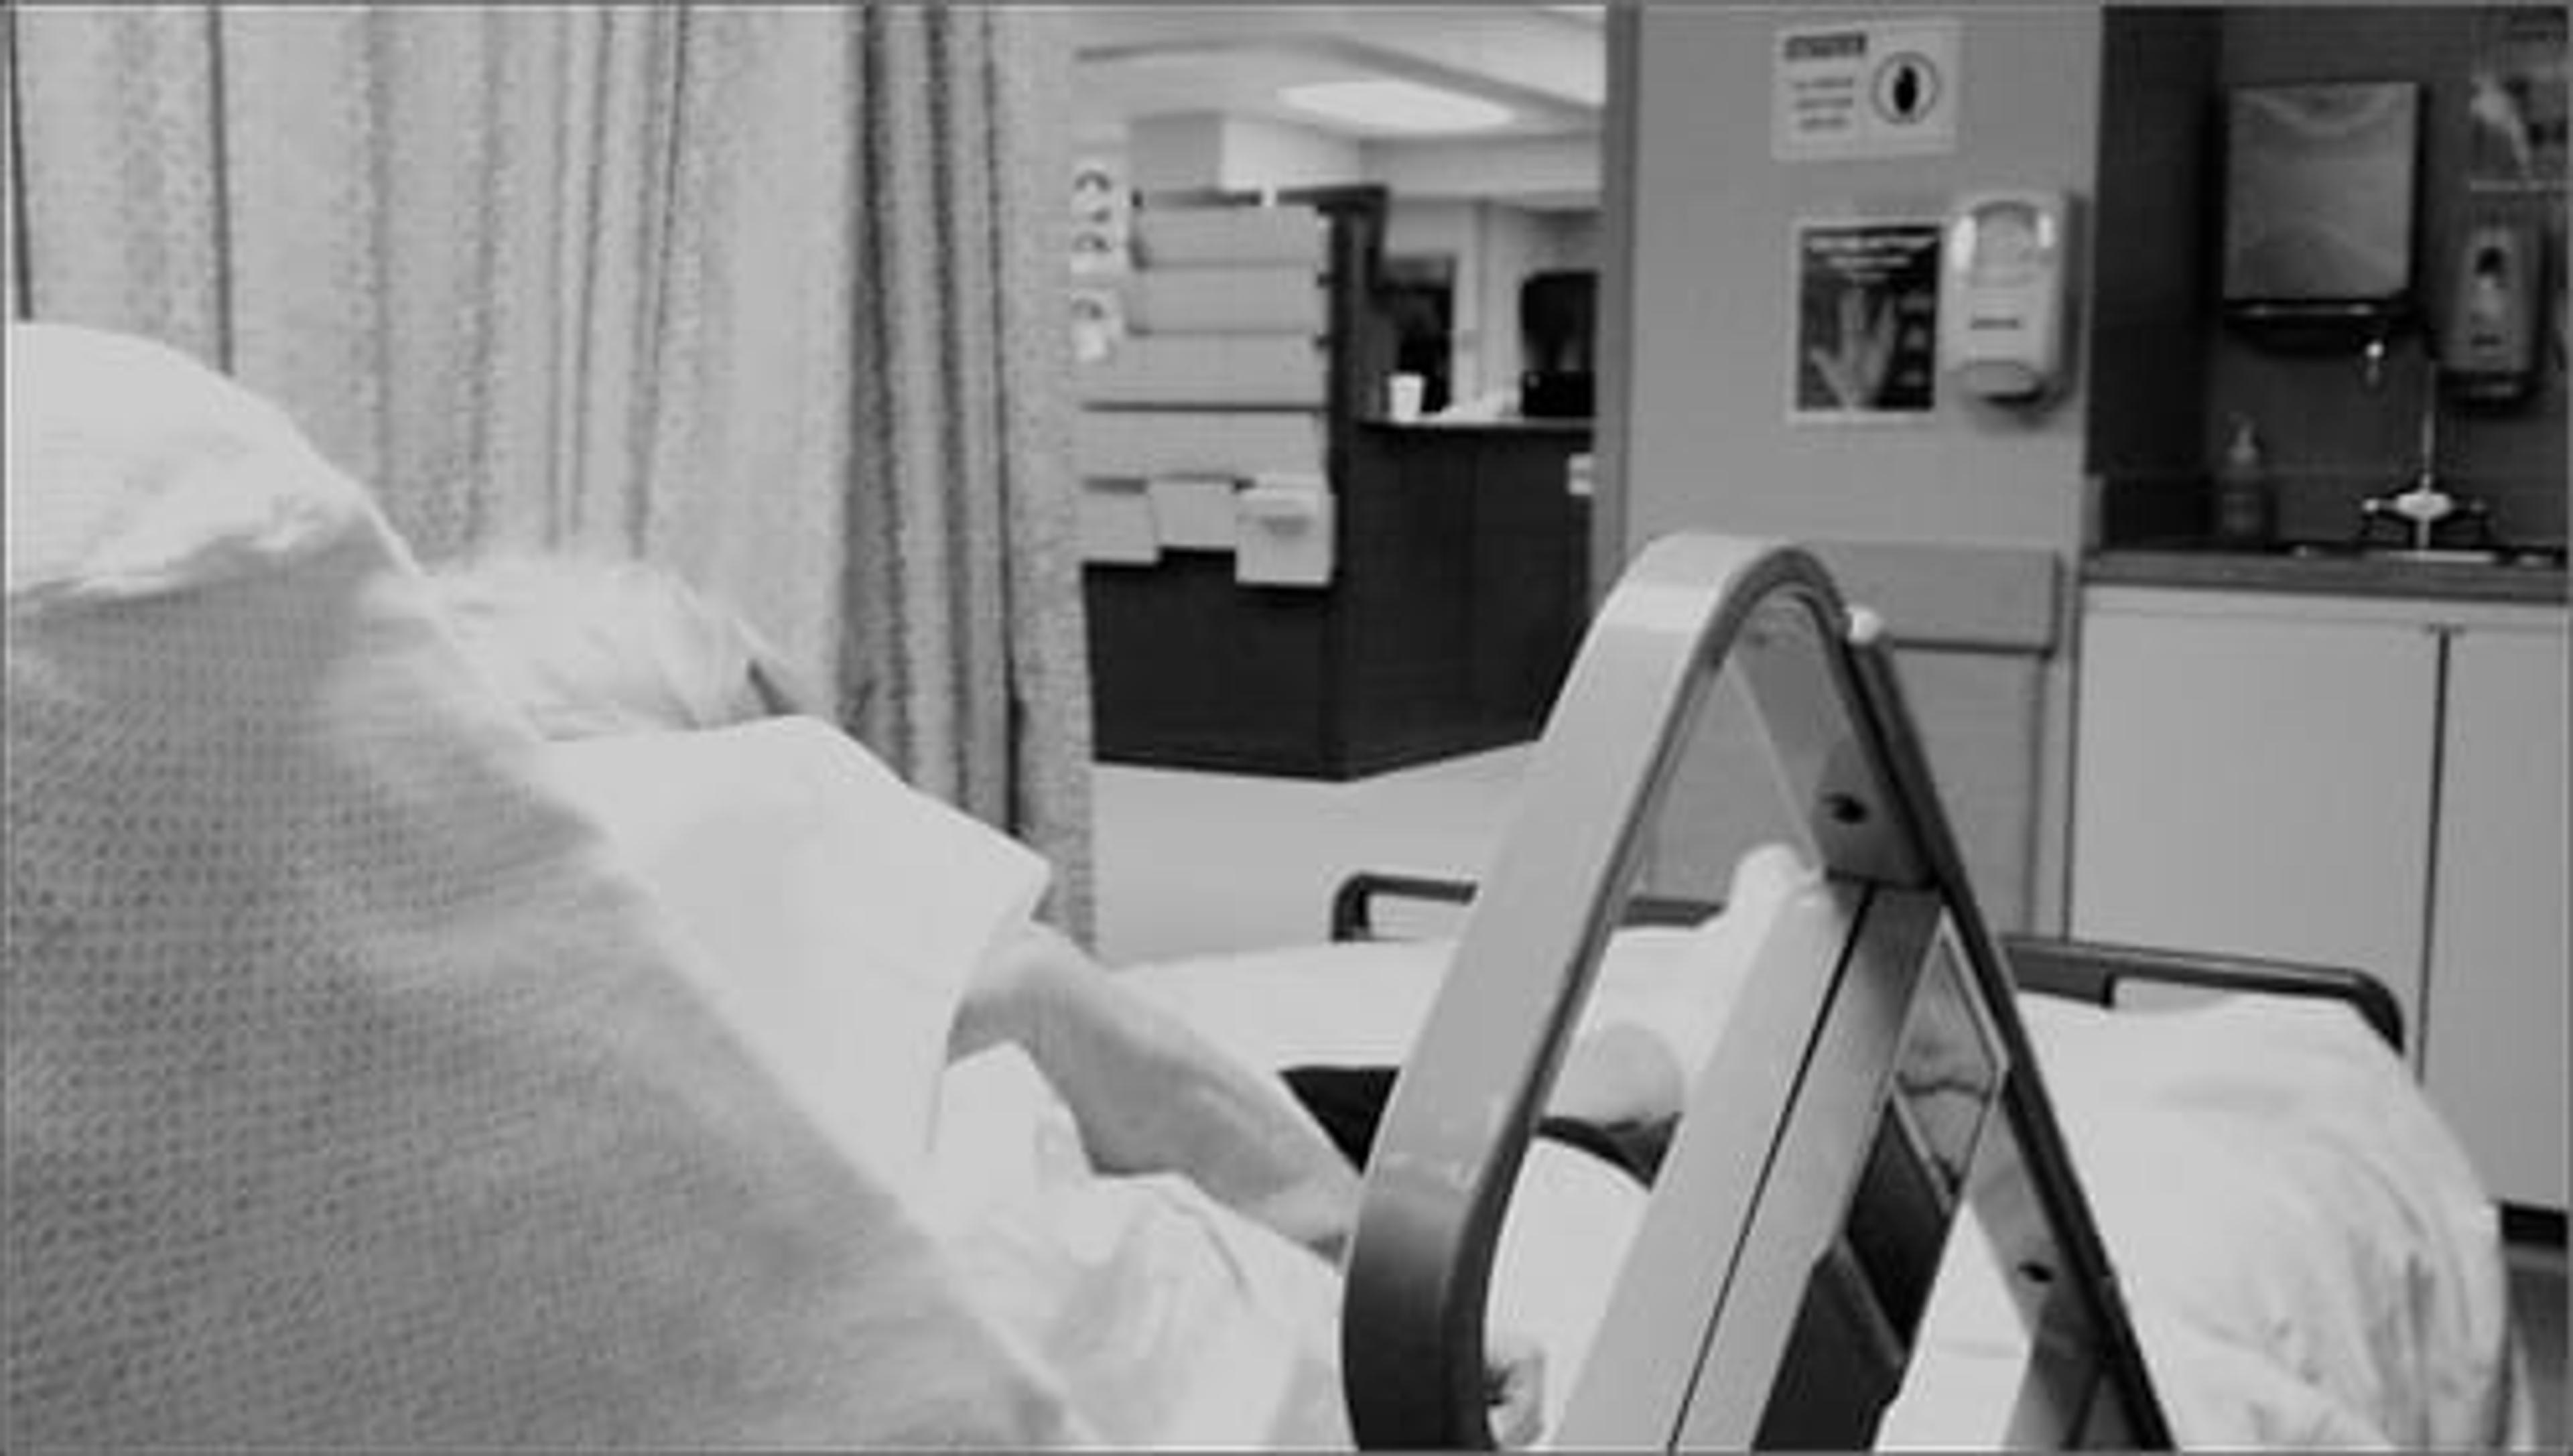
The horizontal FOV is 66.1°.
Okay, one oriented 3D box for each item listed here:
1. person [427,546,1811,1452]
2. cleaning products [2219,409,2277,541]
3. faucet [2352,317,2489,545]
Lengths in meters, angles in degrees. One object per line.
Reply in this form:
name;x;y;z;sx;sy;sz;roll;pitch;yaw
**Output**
person;-0.265;0.274;2.450;1.489;0.833;0.815;17;25;14
cleaning products;2.196;-0.566;4.547;0.130;0.282;0.208;4;11;25
faucet;2.488;-0.612;4.314;0.249;0.468;0.330;4;11;27
